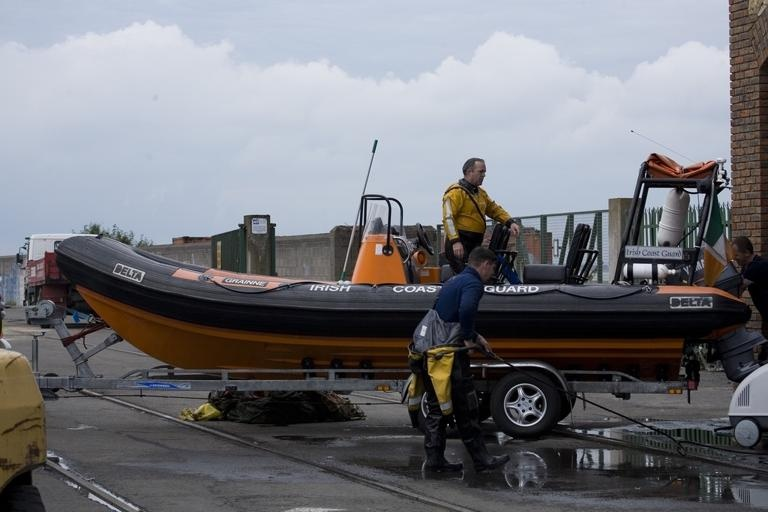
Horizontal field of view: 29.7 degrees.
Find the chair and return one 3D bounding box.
[{"bbox_3d":[1.342,-0.084,19.950,1.005,0.780,0.737,3,2,15],"label":"chair"}]

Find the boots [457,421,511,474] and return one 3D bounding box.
[{"bbox_3d":[1.208,2.316,17.488,0.610,0.589,0.326,4,9,28],"label":"boots"}]

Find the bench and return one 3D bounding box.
[{"bbox_3d":[2.526,0.082,20.610,0.880,0.634,0.715,-4,-5,20],"label":"bench"}]

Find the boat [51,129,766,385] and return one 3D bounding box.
[{"bbox_3d":[0.269,0.143,20.752,10.722,3.069,3.391,0,0,2],"label":"boat"}]

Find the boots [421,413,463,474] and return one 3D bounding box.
[{"bbox_3d":[0.711,2.277,17.545,0.458,0.664,0.374,0,8,2],"label":"boots"}]
